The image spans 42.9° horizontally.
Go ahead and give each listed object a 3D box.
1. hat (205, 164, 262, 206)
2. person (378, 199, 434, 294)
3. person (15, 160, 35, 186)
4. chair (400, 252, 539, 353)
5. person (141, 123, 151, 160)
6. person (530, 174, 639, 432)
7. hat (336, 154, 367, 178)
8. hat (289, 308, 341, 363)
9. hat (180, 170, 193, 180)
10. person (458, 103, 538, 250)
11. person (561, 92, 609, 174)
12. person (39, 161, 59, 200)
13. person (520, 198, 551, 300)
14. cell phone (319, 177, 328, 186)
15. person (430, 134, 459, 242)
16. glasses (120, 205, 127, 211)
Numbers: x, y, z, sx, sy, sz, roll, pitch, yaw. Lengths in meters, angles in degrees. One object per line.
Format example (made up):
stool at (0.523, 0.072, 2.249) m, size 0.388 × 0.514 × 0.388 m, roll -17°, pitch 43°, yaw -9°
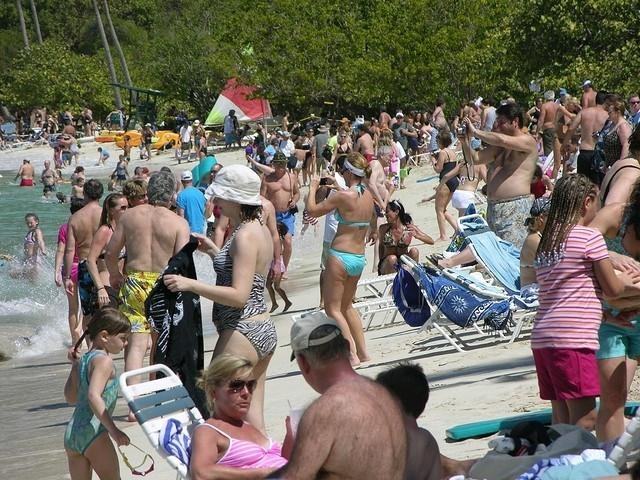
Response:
hat at (-0.639, -0.400, 6.092) m, size 0.341 × 0.199 × 0.294 m, roll 16°, pitch 9°, yaw -2°
person at (1.071, 0.179, 10.468) m, size 0.785 × 1.396 × 0.696 m, roll -6°, pitch 2°, yaw -17°
person at (-12.254, -2.794, 33.814) m, size 0.674 × 1.176 × 1.936 m, roll -3°, pitch 10°, yaw -21°
chair at (1.520, 0.623, 8.648) m, size 1.283 × 0.758 × 0.909 m, roll 4°, pitch 17°, yaw -7°
person at (-8.237, -4.661, 38.954) m, size 0.471 × 1.555 × 2.041 m, roll -2°, pitch 9°, yaw -12°
person at (1.685, 0.419, 5.270) m, size 0.557 × 1.658 × 0.351 m, roll 0°, pitch 9°, yaw -5°
hat at (0.340, -0.760, 8.282) m, size 0.280 × 0.252 × 0.429 m, roll 1°, pitch 9°, yaw 2°
hat at (-0.080, 0.551, 4.548) m, size 0.300 × 0.234 × 0.496 m, roll -9°, pitch -8°, yaw -15°
hat at (-2.052, -0.973, 12.539) m, size 0.185 × 0.155 × 0.286 m, roll 2°, pitch 10°, yaw -10°
person at (1.952, -0.419, 8.844) m, size 0.765 × 2.016 × 0.759 m, roll 1°, pitch 5°, yaw 5°
person at (4.005, -1.728, 12.141) m, size 0.300 × 1.067 × 0.480 m, roll 20°, pitch -26°, yaw 5°
person at (-10.565, -2.363, 31.805) m, size 0.587 × 1.362 × 1.847 m, roll -3°, pitch 10°, yaw -18°
person at (1.685, 0.093, 6.379) m, size 0.317 × 0.283 × 1.022 m, roll -10°, pitch -37°, yaw 9°
cell phone at (0.042, -0.758, 10.649) m, size 0.175 × 0.102 × 0.122 m, roll 2°, pitch 2°, yaw -1°
person at (2.229, -0.958, 14.357) m, size 0.415 × 1.866 × 1.428 m, roll 2°, pitch 9°, yaw 9°
glasses at (-2.015, -0.324, 8.360) m, size 0.047 × 0.048 × 0.013 m, roll 1°, pitch 5°, yaw -36°
